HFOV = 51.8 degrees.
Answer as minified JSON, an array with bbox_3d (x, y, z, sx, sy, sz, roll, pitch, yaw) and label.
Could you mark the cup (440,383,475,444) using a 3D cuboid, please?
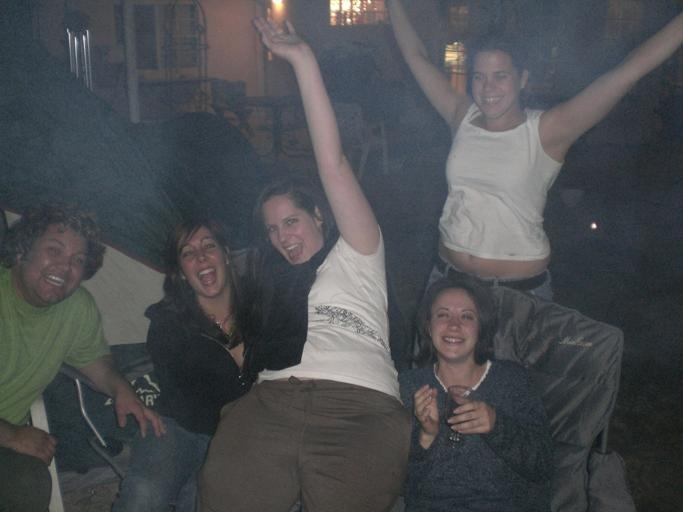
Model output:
[{"bbox_3d":[0.550,0.755,3.357,0.179,0.238,0.104,2,0,-5],"label":"cup"}]
